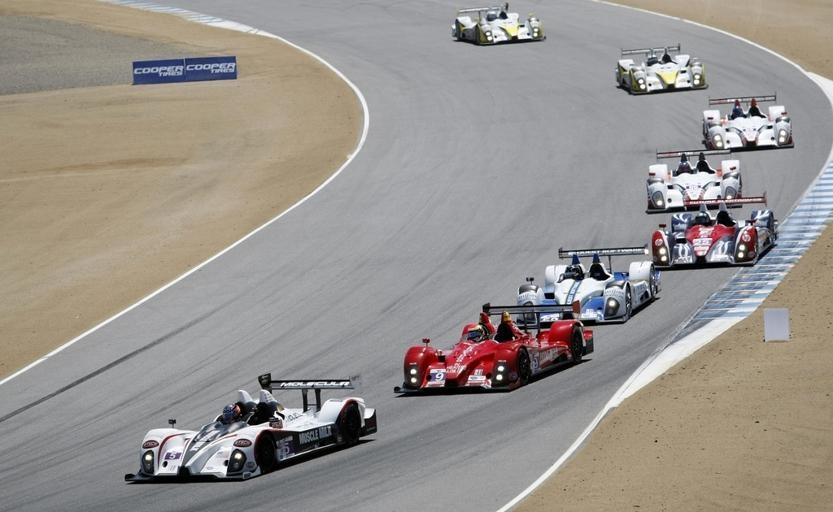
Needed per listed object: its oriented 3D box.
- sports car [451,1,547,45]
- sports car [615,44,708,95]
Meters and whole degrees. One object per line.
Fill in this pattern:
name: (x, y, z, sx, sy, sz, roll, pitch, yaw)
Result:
sports car: (4.618, -13.666, 108.386, 3.270, 1.256, 4.507, -8, 14, -12)
sports car: (13.499, -10.319, 100.267, 4.329, 1.782, 6.342, -5, 12, -2)
